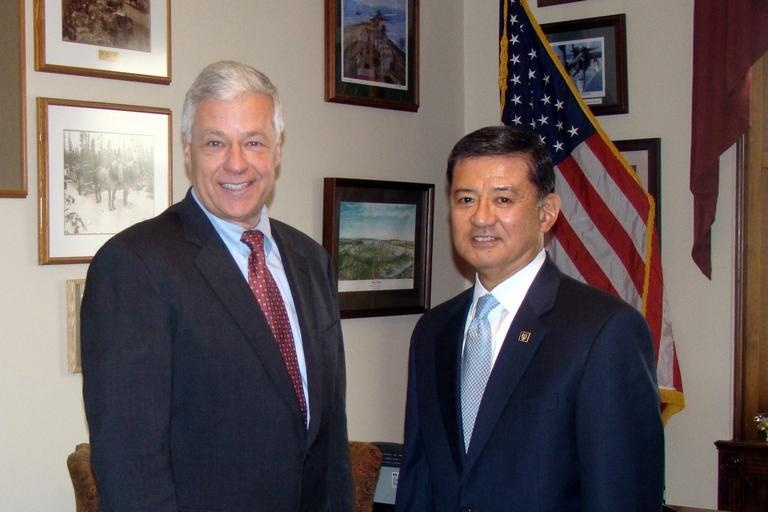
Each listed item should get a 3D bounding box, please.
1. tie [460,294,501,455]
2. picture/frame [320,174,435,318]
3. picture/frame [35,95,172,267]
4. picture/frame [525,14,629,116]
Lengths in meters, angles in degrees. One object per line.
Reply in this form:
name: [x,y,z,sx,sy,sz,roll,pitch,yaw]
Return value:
tie: [0.365,0.422,2.633,0.119,0.684,0.073,5,-18,4]
picture/frame: [-0.067,-0.066,4.281,0.885,0.994,0.074,0,0,-38]
picture/frame: [-1.470,-0.379,3.406,0.831,1.081,0.069,1,-1,-29]
picture/frame: [1.308,-1.250,4.465,0.594,0.693,0.049,-11,4,15]
